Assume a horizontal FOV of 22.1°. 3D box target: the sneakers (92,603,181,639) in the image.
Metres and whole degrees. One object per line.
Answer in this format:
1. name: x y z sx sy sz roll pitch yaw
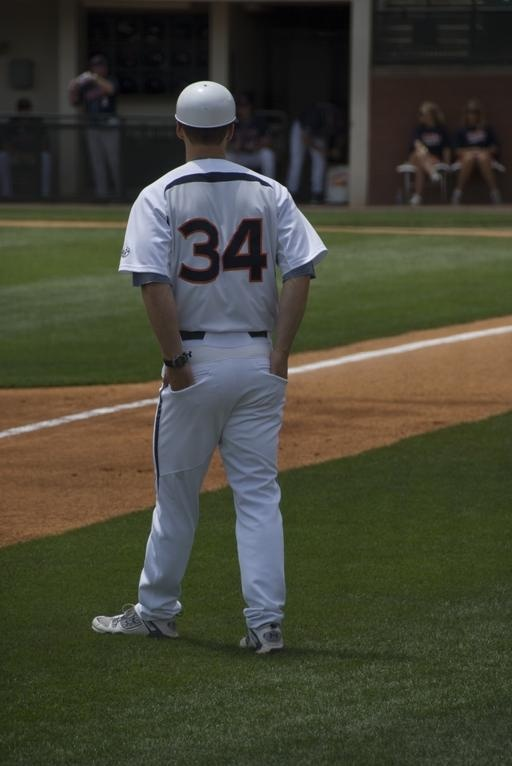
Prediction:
1. sneakers: -0.272 0.568 3.044 0.204 0.091 0.080 7 -13 4

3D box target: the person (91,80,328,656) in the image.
1. person: -0.096 0.050 2.940 0.538 1.075 0.293 -2 10 -12

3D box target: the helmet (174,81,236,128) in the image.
1. helmet: -0.111 -0.627 2.963 0.131 0.106 0.125 1 11 1

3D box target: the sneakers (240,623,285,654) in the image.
1. sneakers: 0.018 0.569 2.954 0.107 0.055 0.101 -2 11 -11

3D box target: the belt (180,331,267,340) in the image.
1. belt: -0.068 -0.108 2.981 0.206 0.024 0.042 -3 12 -19

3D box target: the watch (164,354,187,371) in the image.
1. watch: -0.177 -0.045 2.933 0.044 0.032 0.051 -3 12 21
